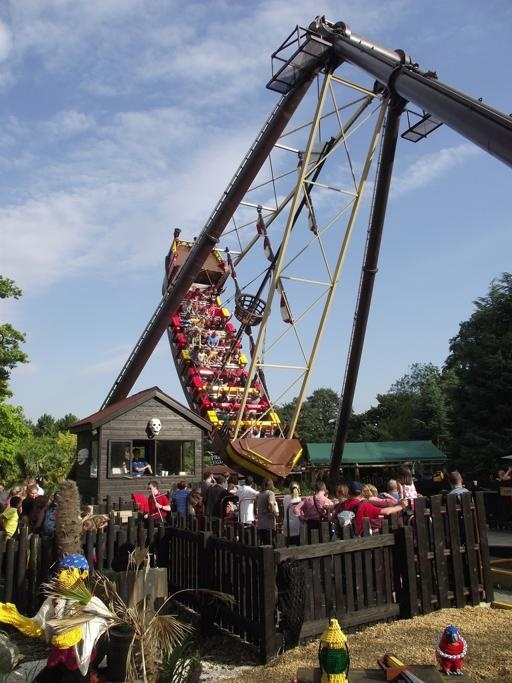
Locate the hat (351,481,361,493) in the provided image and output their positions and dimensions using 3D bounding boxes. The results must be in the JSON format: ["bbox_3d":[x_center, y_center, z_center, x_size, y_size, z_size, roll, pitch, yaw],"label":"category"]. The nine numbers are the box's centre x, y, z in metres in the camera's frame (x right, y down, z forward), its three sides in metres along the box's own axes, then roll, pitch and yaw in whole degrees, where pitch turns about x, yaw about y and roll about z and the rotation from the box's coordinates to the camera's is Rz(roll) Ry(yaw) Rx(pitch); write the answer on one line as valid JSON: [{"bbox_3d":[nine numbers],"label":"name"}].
[{"bbox_3d":[1.308,1.927,7.284,0.158,0.174,0.365,-2,-12,9],"label":"hat"}]
